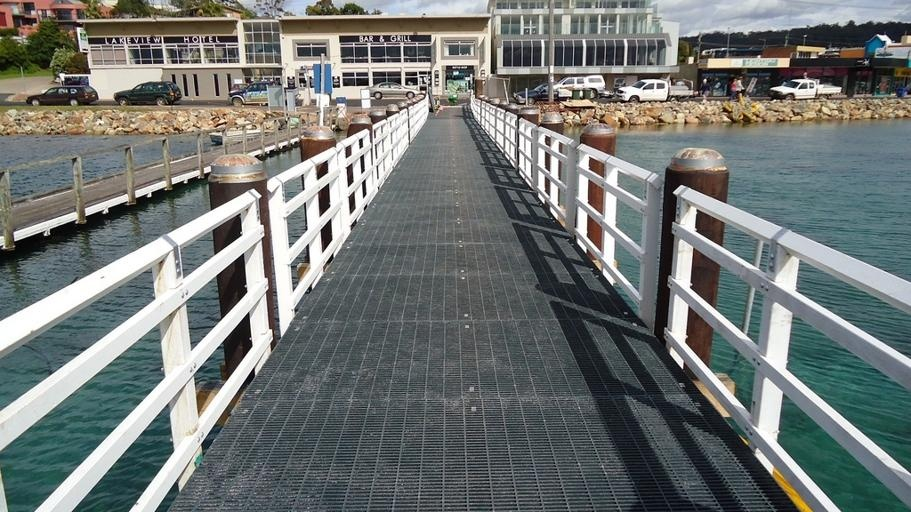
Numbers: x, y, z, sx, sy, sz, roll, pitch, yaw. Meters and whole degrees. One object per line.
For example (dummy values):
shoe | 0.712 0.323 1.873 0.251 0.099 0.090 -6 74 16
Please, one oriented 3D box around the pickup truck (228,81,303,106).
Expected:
pickup truck | -18.697 -15.331 55.969 3.644 1.966 6.573 -3 19 -2
